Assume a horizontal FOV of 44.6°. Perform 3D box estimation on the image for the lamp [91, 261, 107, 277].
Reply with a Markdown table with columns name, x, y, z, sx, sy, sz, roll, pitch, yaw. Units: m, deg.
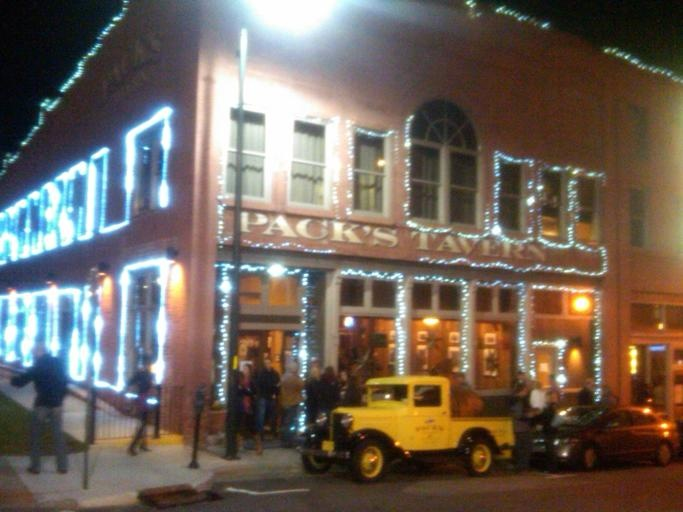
| name | x | y | z | sx | sy | sz | roll | pitch | yaw |
| --- | --- | --- | --- | --- | --- | --- | --- | --- | --- |
| lamp | -7.322 | 0.350 | 25.146 | 0.474 | 0.445 | 0.458 | -1 | -11 | 12 |

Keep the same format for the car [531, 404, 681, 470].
| name | x | y | z | sx | sy | sz | roll | pitch | yaw |
| --- | --- | --- | --- | --- | --- | --- | --- | --- | --- |
| car | 7.043 | 4.923 | 22.294 | 3.727 | 1.144 | 1.812 | 9 | -16 | -27 |

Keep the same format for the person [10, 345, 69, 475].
| name | x | y | z | sx | sy | sz | roll | pitch | yaw |
| --- | --- | --- | --- | --- | --- | --- | --- | --- | --- |
| person | -6.421 | 3.289 | 17.931 | 1.099 | 2.729 | 0.580 | 4 | -12 | -17 |

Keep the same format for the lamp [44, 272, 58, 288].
| name | x | y | z | sx | sy | sz | roll | pitch | yaw |
| --- | --- | --- | --- | --- | --- | --- | --- | --- | --- |
| lamp | -10.817 | 0.819 | 31.026 | 0.233 | 0.677 | 1.096 | 7 | -13 | -28 |

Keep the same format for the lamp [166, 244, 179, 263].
| name | x | y | z | sx | sy | sz | roll | pitch | yaw |
| --- | --- | --- | --- | --- | --- | --- | --- | --- | --- |
| lamp | -4.653 | -0.116 | 22.757 | 0.138 | 0.453 | 0.492 | 11 | -15 | -43 |

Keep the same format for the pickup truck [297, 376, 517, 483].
| name | x | y | z | sx | sy | sz | roll | pitch | yaw |
| --- | --- | --- | --- | --- | --- | --- | --- | --- | --- |
| pickup truck | 1.951 | 3.956 | 20.200 | 4.541 | 1.836 | 2.351 | 0 | 9 | -18 |
